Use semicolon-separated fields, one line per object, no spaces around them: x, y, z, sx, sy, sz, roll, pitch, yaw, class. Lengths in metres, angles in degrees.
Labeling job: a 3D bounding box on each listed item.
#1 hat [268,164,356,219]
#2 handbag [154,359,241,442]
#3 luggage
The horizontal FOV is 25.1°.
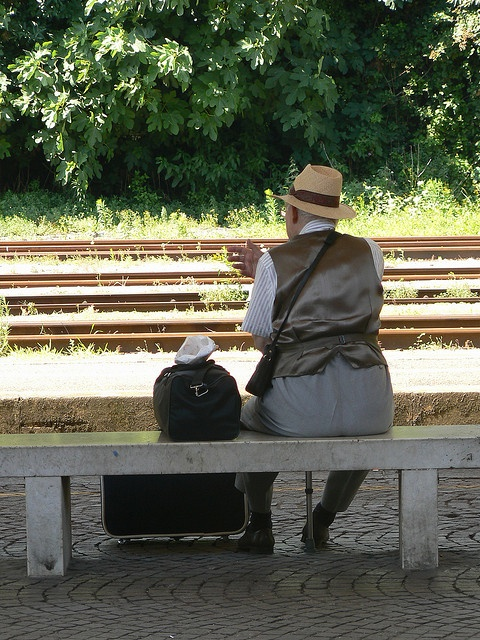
0.349;-0.607;5.001;0.428;0.229;0.469;11;10;-12;hat
-0.184;0.303;4.773;0.330;0.284;0.416;-2;4;-7;handbag
-0.317;0.868;5.061;0.657;0.321;0.557;-2;7;-5;luggage
